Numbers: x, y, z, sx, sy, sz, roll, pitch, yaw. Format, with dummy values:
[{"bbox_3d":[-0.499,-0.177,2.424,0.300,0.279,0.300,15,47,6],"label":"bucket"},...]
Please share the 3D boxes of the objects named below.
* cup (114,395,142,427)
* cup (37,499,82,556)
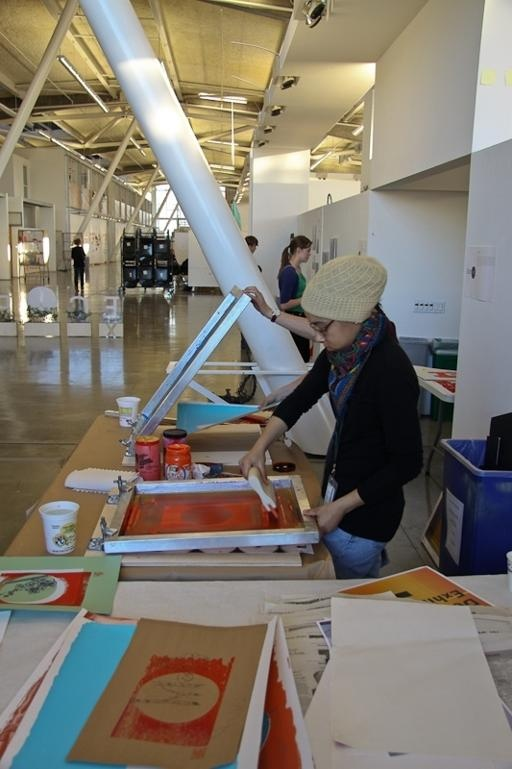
[{"bbox_3d":[-0.554,0.121,2.356,0.120,0.127,0.119,4,26,-2],"label":"cup"},{"bbox_3d":[-0.464,0.336,1.322,0.110,0.117,0.112,3,18,-1],"label":"cup"}]
